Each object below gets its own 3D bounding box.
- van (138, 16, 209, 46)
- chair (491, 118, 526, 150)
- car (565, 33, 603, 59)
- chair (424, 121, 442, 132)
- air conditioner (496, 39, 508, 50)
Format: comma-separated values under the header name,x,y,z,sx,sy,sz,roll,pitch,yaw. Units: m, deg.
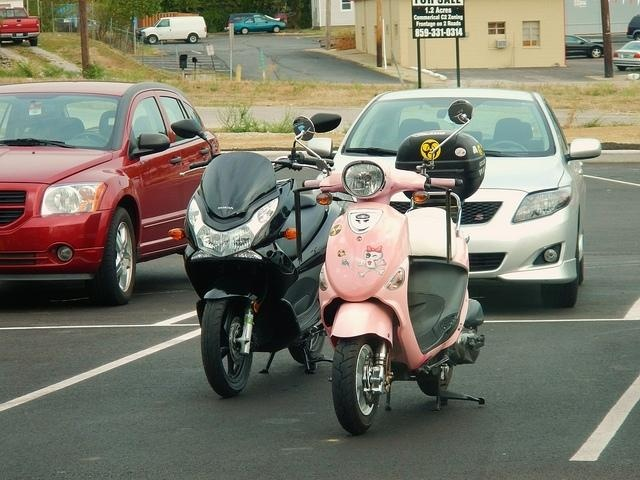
name,x,y,z,sx,sy,sz,roll,pitch,yaw
van,-12.598,-18.301,77.538,6.555,2.595,1.711,-9,11,-42
chair,2.093,-1.175,9.781,0.222,0.282,0.484,-1,3,13
car,20.847,-15.547,71.539,3.757,1.414,1.767,-2,12,-7
chair,1.247,-1.277,9.933,0.129,0.157,0.266,-2,0,17
air conditioner,12.785,-13.879,63.120,0.877,0.839,0.504,-1,5,-4
